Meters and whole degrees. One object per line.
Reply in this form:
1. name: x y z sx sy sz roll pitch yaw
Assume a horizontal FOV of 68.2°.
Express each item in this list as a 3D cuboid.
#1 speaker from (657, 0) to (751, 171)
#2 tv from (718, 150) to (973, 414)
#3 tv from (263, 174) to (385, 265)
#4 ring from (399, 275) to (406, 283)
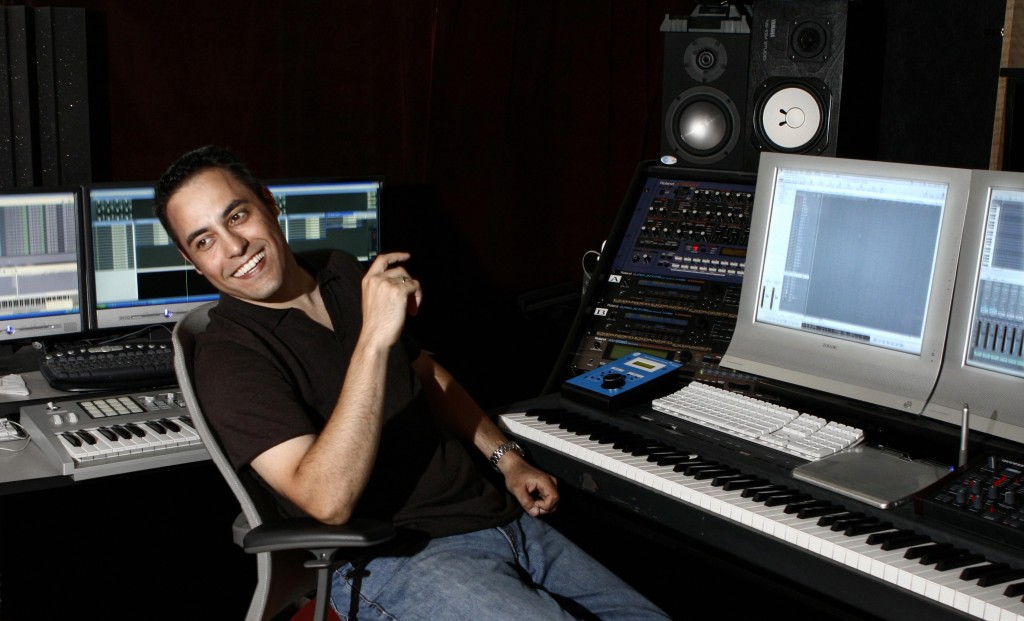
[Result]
1. speaker: 0.842 -0.966 3.272 0.384 0.701 0.191 0 16 8
2. tv: 1.215 -0.156 2.693 0.650 0.767 0.763 -32 30 -31
3. tv: -0.878 -0.408 3.551 0.047 0.399 0.634 6 11 37
4. ring: -0.330 -0.092 2.296 0.021 0.017 0.035 -4 14 -5
